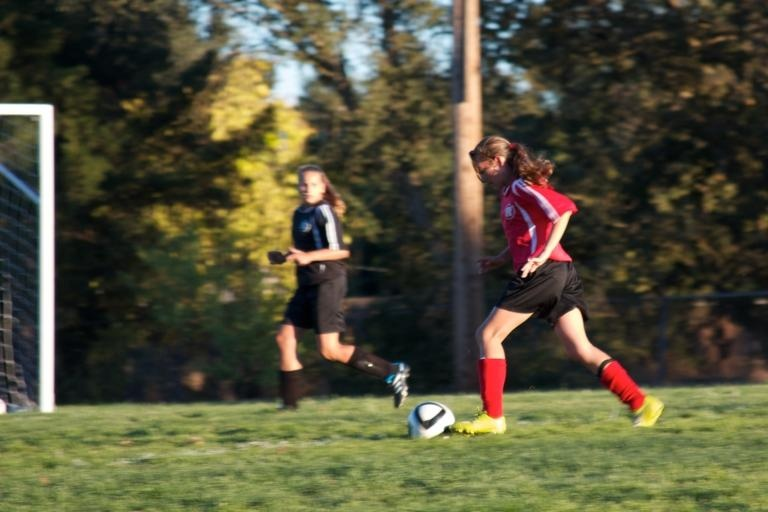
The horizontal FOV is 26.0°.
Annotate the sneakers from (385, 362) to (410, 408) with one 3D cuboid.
[{"bbox_3d":[0.172,1.356,17.159,0.299,0.484,0.191,-14,30,9],"label":"sneakers"}]

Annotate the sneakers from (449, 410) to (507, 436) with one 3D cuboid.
[{"bbox_3d":[0.914,1.635,16.020,0.573,0.156,0.188,2,-8,-2],"label":"sneakers"}]

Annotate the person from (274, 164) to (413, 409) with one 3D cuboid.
[{"bbox_3d":[-0.556,0.264,16.804,1.139,2.345,0.833,-4,-6,0],"label":"person"}]

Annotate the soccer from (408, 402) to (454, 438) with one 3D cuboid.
[{"bbox_3d":[0.447,1.598,16.000,0.290,0.239,0.283,-26,4,36],"label":"soccer"}]
